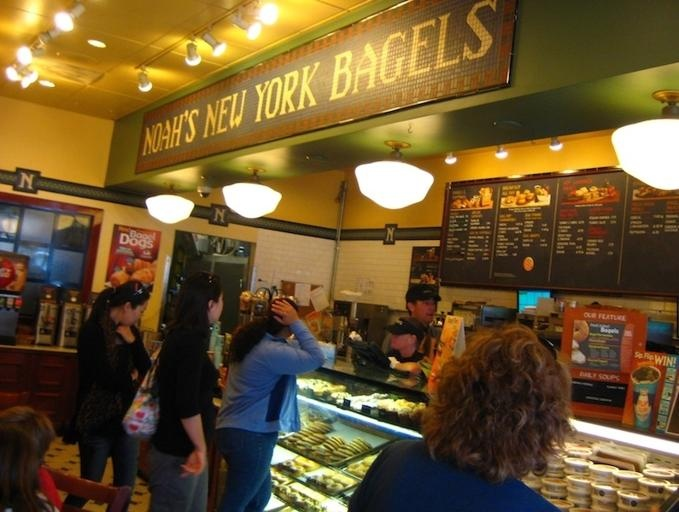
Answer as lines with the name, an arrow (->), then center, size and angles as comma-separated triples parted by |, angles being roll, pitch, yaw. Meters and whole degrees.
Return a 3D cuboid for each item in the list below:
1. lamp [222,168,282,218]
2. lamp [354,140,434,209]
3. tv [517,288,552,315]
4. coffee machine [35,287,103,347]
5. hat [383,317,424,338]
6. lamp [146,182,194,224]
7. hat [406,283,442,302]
lamp -> -0.842, -0.535, 4.194 | 0.462, 0.382, 0.543 | 4, -4, -44
lamp -> 0.369, -0.562, 3.079 | 0.474, 0.495, 0.561 | 5, -3, 10
tv -> 2.350, 0.540, 5.778 | 0.262, 0.287, 0.438 | 7, -3, -27
coffee machine -> -3.159, 0.698, 5.326 | 0.868, 0.793, 0.406 | 10, -12, -31
hat -> 0.562, 0.588, 3.880 | 0.253, 0.083, 0.160 | 6, -4, -30
lamp -> -2.053, -0.567, 5.505 | 0.606, 0.401, 0.515 | -2, -3, 29
hat -> 0.957, 0.397, 5.173 | 0.317, 0.206, 0.417 | 6, -13, -28
